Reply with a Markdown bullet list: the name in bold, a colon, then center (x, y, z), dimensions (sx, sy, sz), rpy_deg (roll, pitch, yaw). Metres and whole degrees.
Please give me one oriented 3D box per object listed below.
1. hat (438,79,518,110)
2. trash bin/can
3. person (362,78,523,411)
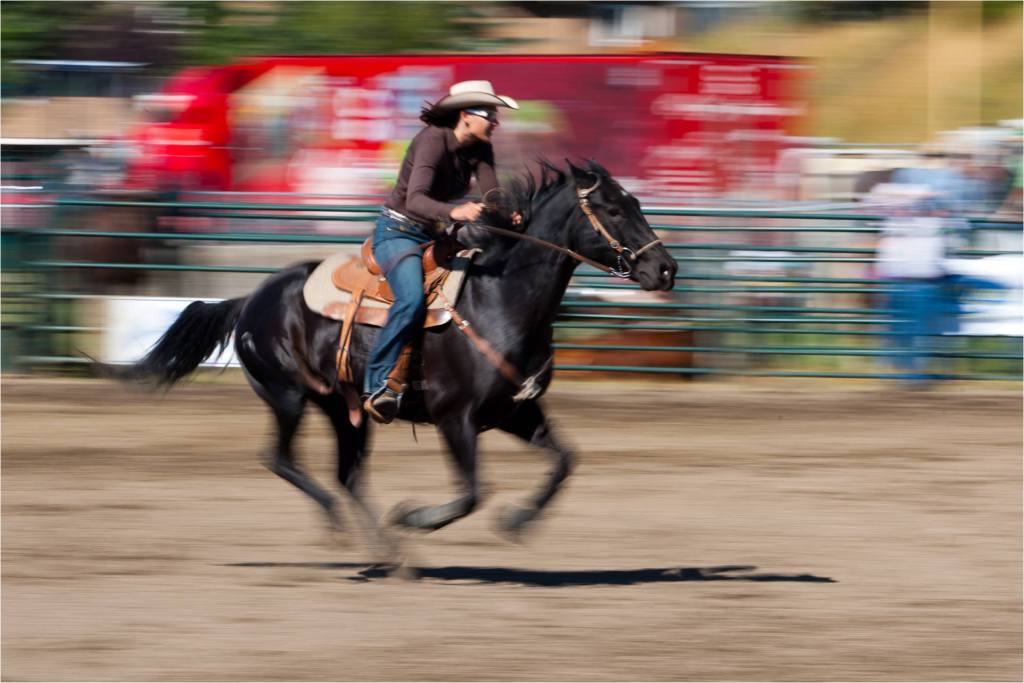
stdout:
- **hat**: center (-0.371, -2.074, 16.079), dimensions (0.734, 0.136, 0.429), rpy_deg (0, 1, 12)
- **trash bin/can**: center (4.651, -0.148, 21.821), dimensions (0.838, 1.259, 0.452), rpy_deg (0, 21, 7)
- **person**: center (-0.699, -0.769, 16.185), dimensions (1.716, 2.882, 0.903), rpy_deg (-9, 22, -18)
